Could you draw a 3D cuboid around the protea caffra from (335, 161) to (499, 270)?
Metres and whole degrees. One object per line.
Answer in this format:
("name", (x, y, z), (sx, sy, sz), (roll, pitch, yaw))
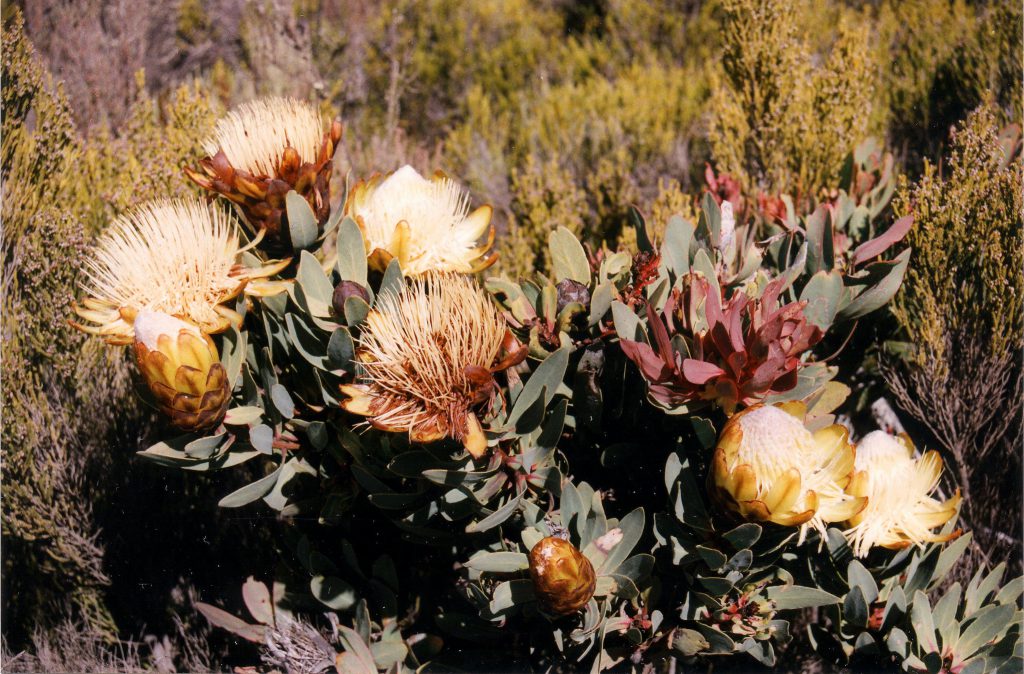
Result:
("protea caffra", (-0.150, -0.191, 1.871), (0.184, 0.126, 0.194), (33, 31, 3))

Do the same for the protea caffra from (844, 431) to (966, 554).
("protea caffra", (0.603, 0.222, 1.861), (0.202, 0.152, 0.220), (-6, 9, -34))

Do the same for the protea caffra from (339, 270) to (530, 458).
("protea caffra", (-0.083, 0.037, 1.791), (0.197, 0.146, 0.214), (-14, -4, 36))

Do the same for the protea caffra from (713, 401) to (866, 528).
("protea caffra", (0.438, 0.223, 1.809), (0.187, 0.120, 0.199), (40, 42, 21))

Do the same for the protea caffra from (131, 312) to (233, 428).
("protea caffra", (-0.518, 0.061, 1.801), (0.122, 0.126, 0.213), (-19, 70, -32))

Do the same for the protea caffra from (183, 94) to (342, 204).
("protea caffra", (-0.378, -0.307, 1.904), (0.221, 0.157, 0.256), (-4, 22, 41))

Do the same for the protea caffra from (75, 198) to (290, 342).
("protea caffra", (-0.523, -0.083, 1.846), (0.240, 0.134, 0.271), (-17, 46, 4))

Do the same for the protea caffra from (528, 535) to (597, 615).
("protea caffra", (0.079, 0.380, 1.791), (0.097, 0.126, 0.131), (-14, -11, 27))
